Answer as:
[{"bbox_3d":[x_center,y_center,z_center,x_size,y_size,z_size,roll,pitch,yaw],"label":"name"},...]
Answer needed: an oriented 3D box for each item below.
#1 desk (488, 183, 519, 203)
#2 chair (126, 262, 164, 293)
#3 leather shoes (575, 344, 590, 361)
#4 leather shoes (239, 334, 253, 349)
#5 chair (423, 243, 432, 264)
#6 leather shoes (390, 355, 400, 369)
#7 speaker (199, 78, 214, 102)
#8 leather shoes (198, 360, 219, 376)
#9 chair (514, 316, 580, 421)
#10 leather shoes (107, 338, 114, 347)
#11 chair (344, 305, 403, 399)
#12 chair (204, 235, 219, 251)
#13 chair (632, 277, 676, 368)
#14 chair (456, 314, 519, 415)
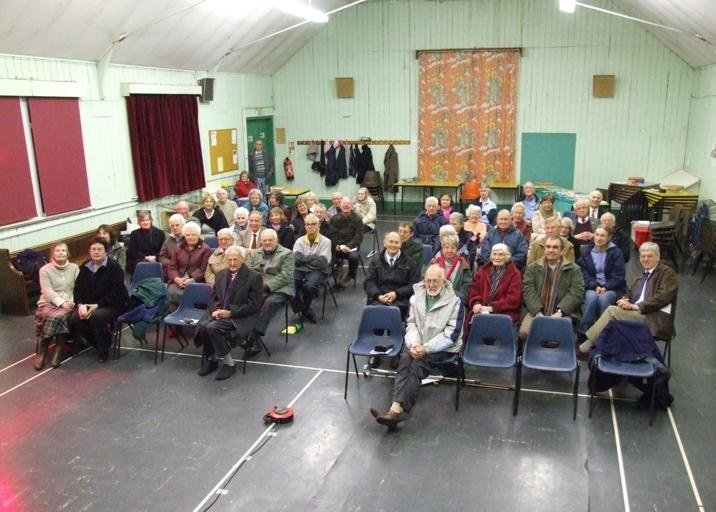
[{"bbox_3d":[4.251,-1.922,14.558,0.657,0.724,0.705,0,5,6],"label":"desk"},{"bbox_3d":[-3.174,0.262,7.469,0.573,0.562,0.511,2,4,5],"label":"chair"},{"bbox_3d":[2.739,1.185,6.121,0.164,0.237,0.225,-5,-10,35],"label":"leather shoes"},{"bbox_3d":[-1.496,1.134,6.700,0.177,0.160,0.284,6,-21,-9],"label":"leather shoes"},{"bbox_3d":[1.134,-0.028,8.226,0.203,0.377,0.227,0,3,2],"label":"chair"},{"bbox_3d":[0.466,1.383,6.536,0.124,0.178,0.174,-2,-4,20],"label":"leather shoes"},{"bbox_3d":[-3.833,-4.182,12.603,0.250,0.537,0.524,4,9,8],"label":"speaker"},{"bbox_3d":[-1.937,1.436,6.512,0.110,0.141,0.308,-1,-3,18],"label":"leather shoes"},{"bbox_3d":[2.126,1.241,5.637,0.642,0.995,0.646,1,12,19],"label":"chair"},{"bbox_3d":[-3.406,1.192,6.884,0.036,0.150,0.103,6,6,-10],"label":"leather shoes"},{"bbox_3d":[0.266,1.082,6.223,0.788,1.355,0.960,3,14,12],"label":"chair"},{"bbox_3d":[-2.556,-0.223,8.720,0.235,0.333,0.268,0,-1,-1],"label":"chair"},{"bbox_3d":[3.759,0.961,6.372,0.394,0.817,0.451,8,9,19],"label":"chair"},{"bbox_3d":[1.464,1.191,5.641,0.741,0.983,0.749,1,6,2],"label":"chair"}]
